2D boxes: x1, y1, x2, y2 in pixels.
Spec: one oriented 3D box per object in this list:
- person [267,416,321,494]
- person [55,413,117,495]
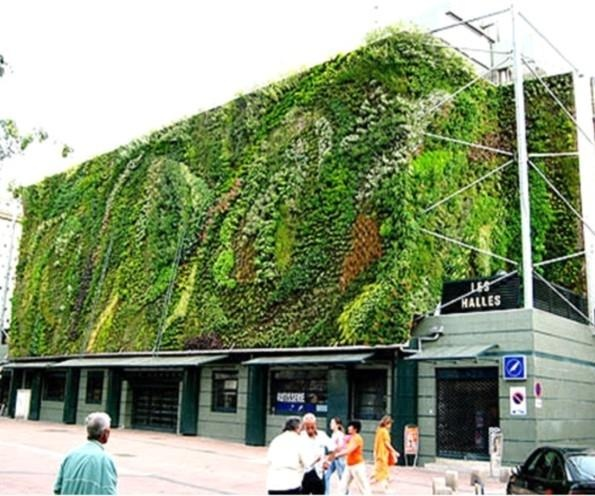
[{"bbox_3d":[-0.123,3.293,9.554,0.694,1.158,0.413,4,-14,-9],"label":"person"},{"bbox_3d":[-2.418,2.429,7.089,0.610,0.914,0.183,4,-14,-10],"label":"person"}]
